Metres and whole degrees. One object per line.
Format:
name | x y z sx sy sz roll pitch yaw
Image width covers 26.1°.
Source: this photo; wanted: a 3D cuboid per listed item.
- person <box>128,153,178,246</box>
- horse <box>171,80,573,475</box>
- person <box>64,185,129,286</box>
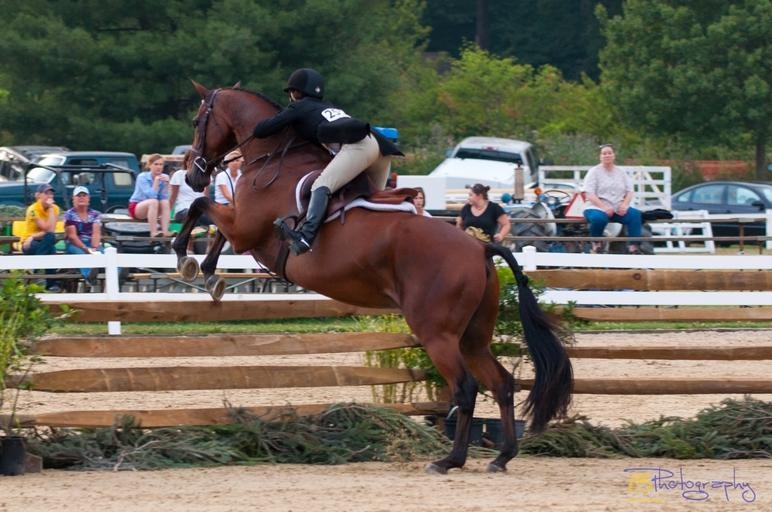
person | -5.207 -1.321 37.158 1.032 1.751 0.938 2 -4 3
horse | -0.457 0.487 32.631 11.144 6.022 2.210 15 5 41
person | -6.557 -0.461 36.713 1.050 2.280 1.025 0 0 -37
